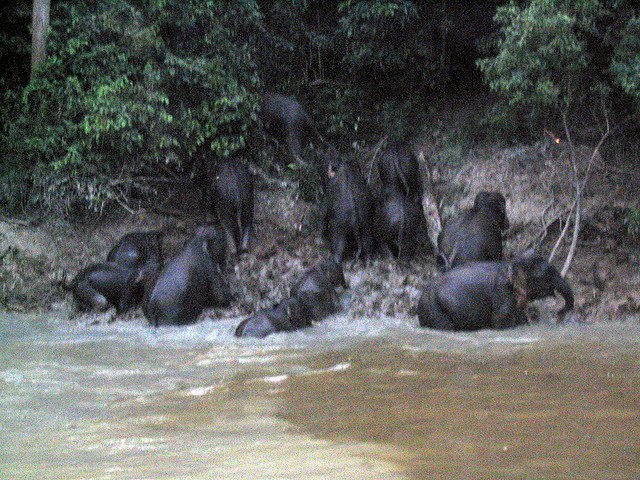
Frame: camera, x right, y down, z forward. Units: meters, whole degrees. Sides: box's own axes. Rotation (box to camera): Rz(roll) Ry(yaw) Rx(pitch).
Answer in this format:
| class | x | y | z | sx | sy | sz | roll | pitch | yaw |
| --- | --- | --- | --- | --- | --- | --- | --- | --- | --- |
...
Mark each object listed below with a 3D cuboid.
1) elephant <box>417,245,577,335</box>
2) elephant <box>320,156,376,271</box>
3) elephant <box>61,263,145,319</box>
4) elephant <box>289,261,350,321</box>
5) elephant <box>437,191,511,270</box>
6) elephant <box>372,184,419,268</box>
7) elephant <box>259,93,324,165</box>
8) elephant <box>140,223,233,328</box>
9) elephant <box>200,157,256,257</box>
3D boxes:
| class | x | y | z | sx | sy | sz | roll | pitch | yaw |
| --- | --- | --- | --- | --- | --- | --- | --- | --- | --- |
| elephant | 2.512 | 0.856 | 12.951 | 2.211 | 1.431 | 0.900 | -10 | 27 | 14 |
| elephant | 0.491 | -0.379 | 15.146 | 0.597 | 2.107 | 1.098 | -1 | -34 | 0 |
| elephant | -3.599 | 0.777 | 14.934 | 1.630 | 1.098 | 0.648 | -6 | 2 | -10 |
| elephant | 0.011 | 0.743 | 14.300 | 0.552 | 0.981 | 1.239 | -6 | 15 | 31 |
| elephant | 2.417 | -0.161 | 14.073 | 0.730 | 1.492 | 0.959 | 12 | -33 | 37 |
| elephant | 1.219 | -0.496 | 15.117 | 0.488 | 1.729 | 0.886 | -5 | -29 | 2 |
| elephant | -0.643 | -2.083 | 16.680 | 0.801 | 1.281 | 0.660 | -1 | 2 | 8 |
| elephant | -2.126 | 0.903 | 14.871 | 1.234 | 1.726 | 3.002 | 3 | 14 | -16 |
| elephant | -1.627 | -0.691 | 15.758 | 0.742 | 1.804 | 0.959 | -6 | -36 | -5 |
